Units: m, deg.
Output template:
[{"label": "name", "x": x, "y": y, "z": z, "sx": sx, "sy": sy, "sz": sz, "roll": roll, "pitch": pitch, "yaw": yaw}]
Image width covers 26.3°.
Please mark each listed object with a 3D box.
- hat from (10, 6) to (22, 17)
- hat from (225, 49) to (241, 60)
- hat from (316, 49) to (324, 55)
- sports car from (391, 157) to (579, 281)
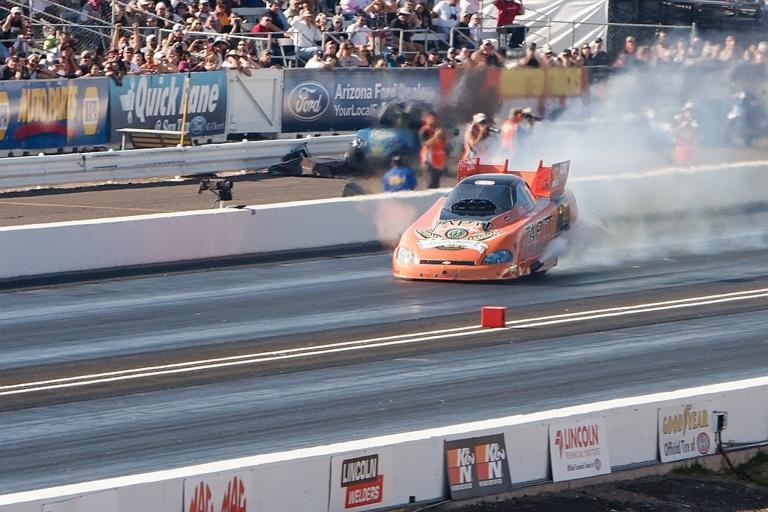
[{"label": "hat", "x": -8.181, "y": -5.453, "z": 36.568, "sx": 0.269, "sy": 0.169, "sz": 0.349, "roll": 1, "pitch": -18, "yaw": -16}, {"label": "hat", "x": -3.496, "y": -4.632, "z": 37.854, "sx": 0.345, "sy": 0.116, "sz": 0.350, "roll": 1, "pitch": 4, "yaw": 11}, {"label": "hat", "x": -1.560, "y": -4.879, "z": 39.322, "sx": 0.147, "sy": 0.047, "sz": 0.143, "roll": 9, "pitch": 19, "yaw": 32}, {"label": "sports car", "x": 1.898, "y": -0.654, "z": 31.481, "sx": 2.248, "sy": 1.989, "sz": 3.292, "roll": 6, "pitch": 13, "yaw": 34}]
